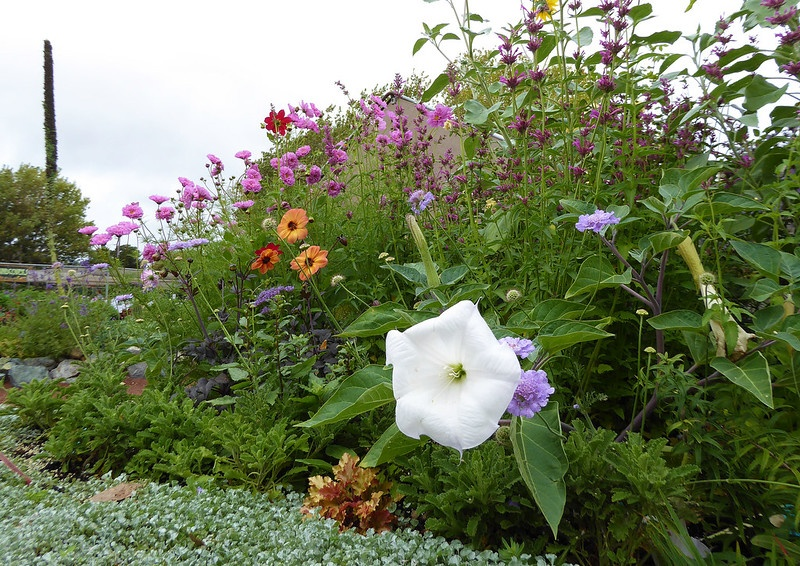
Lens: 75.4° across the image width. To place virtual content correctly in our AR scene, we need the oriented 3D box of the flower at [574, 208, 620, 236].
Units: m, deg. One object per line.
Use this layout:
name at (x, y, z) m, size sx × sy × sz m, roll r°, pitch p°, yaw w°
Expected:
flower at (0.936, -0.296, 2.451) m, size 0.180 × 0.111 × 0.199 m, roll -9°, pitch -1°, yaw 30°

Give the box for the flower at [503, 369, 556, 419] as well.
flower at (0.532, 0.450, 2.115) m, size 0.177 × 0.189 × 0.106 m, roll 18°, pitch -6°, yaw 22°

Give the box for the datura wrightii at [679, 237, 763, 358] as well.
datura wrightii at (1.506, 0.084, 2.590) m, size 0.329 × 0.631 × 0.130 m, roll -15°, pitch -14°, yaw -2°
